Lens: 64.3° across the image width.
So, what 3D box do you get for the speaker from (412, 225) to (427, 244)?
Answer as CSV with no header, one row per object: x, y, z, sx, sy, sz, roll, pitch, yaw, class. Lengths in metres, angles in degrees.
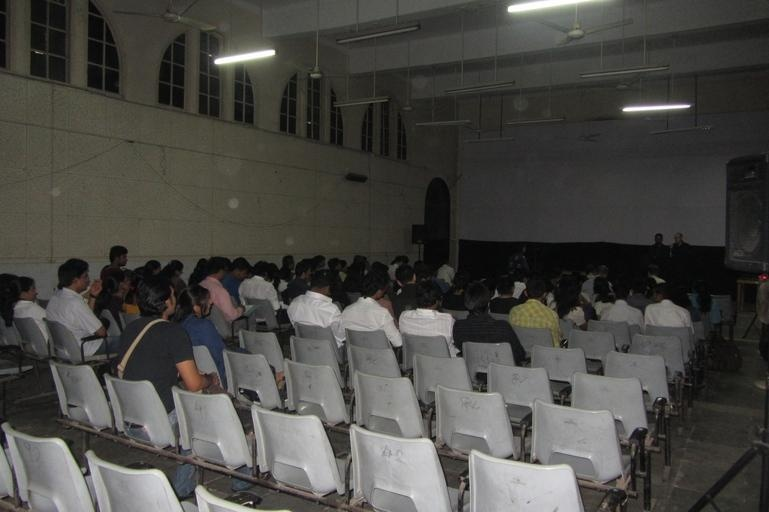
1.037,-0.621,18.286,0.495,0.493,0.122,0,1,-31,speaker
